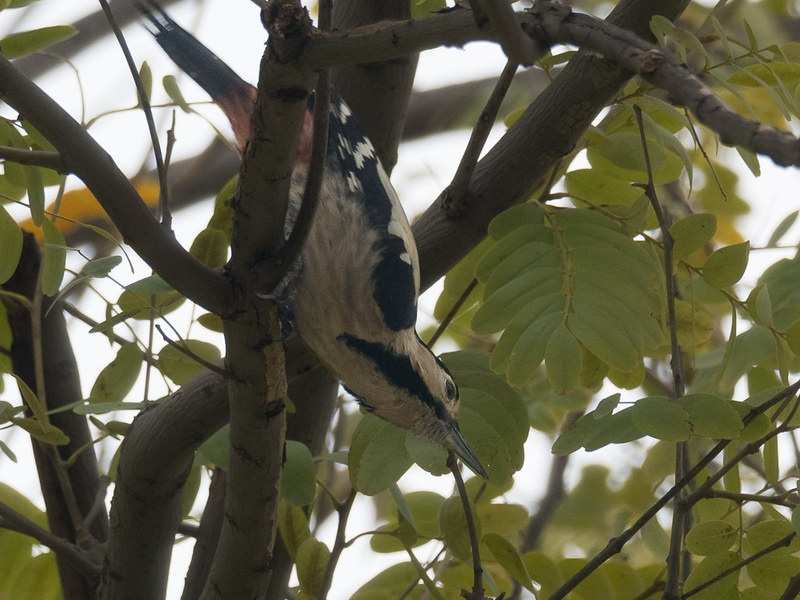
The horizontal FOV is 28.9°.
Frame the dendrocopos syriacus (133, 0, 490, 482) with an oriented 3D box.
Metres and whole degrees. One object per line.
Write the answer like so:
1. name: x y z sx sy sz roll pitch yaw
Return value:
1. dendrocopos syriacus: -0.234 -0.114 4.422 0.432 0.405 1.540 -31 -96 9
